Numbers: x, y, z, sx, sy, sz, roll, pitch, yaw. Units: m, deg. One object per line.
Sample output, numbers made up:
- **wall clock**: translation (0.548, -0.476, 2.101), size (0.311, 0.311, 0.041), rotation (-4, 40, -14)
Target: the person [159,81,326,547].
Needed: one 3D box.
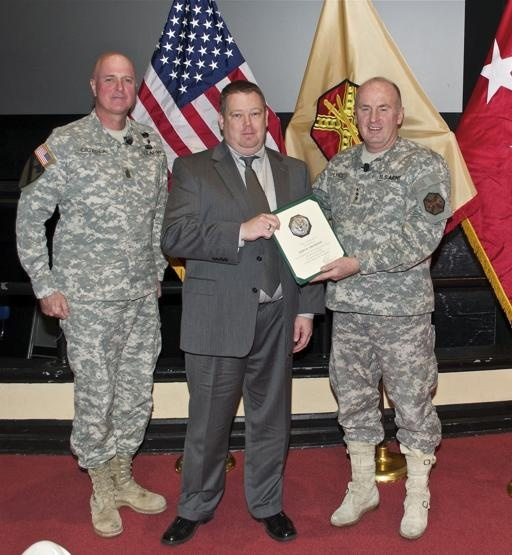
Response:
- **person**: translation (-0.045, 0.135, 2.187), size (0.609, 1.707, 0.461), rotation (0, 11, 6)

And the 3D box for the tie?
- **tie**: translation (0.028, -0.192, 2.100), size (0.161, 0.477, 0.142), rotation (-13, 6, 0)

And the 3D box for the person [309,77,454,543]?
- **person**: translation (0.489, 0.106, 2.247), size (0.498, 1.728, 0.479), rotation (0, 11, 9)

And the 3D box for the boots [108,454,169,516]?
- **boots**: translation (-0.501, 0.877, 2.447), size (0.302, 0.228, 0.106), rotation (-4, -4, 26)

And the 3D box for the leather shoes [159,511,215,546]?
- **leather shoes**: translation (-0.265, 0.956, 2.219), size (0.184, 0.072, 0.066), rotation (-10, 17, -43)

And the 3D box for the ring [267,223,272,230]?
- **ring**: translation (0.051, -0.170, 1.969), size (0.012, 0.024, 0.028), rotation (-1, 9, 1)

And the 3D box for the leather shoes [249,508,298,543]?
- **leather shoes**: translation (0.083, 0.943, 2.193), size (0.064, 0.054, 0.149), rotation (-2, 10, -37)

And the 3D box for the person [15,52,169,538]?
- **person**: translation (-0.575, 0.055, 2.324), size (0.405, 1.848, 0.562), rotation (5, 12, 30)
